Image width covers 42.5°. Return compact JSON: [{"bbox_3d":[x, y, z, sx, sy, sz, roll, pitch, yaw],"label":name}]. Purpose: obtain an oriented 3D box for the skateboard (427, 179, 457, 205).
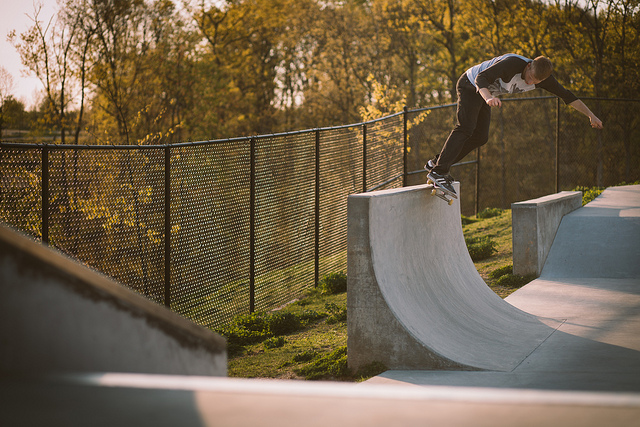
[{"bbox_3d":[2.692,-0.474,18.421,0.618,0.482,0.425,-3,1,-5],"label":"skateboard"}]
